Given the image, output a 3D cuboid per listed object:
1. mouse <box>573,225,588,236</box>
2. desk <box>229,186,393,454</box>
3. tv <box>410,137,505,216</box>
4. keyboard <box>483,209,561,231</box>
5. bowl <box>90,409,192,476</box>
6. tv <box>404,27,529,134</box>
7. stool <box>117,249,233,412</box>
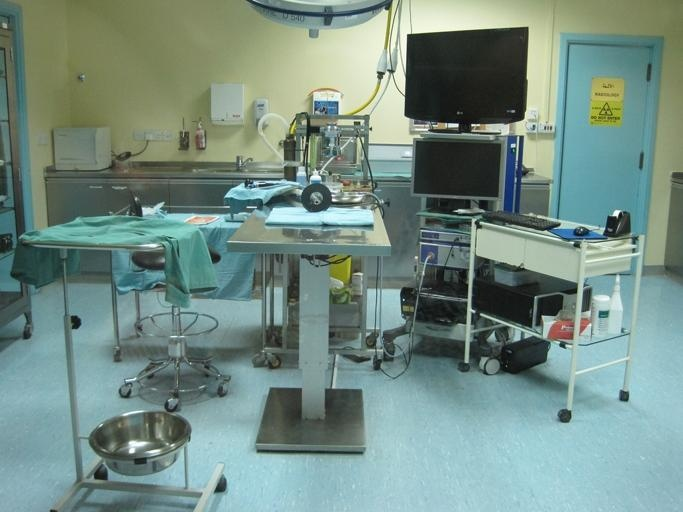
[{"bbox_3d":[1.410,-0.146,3.500,0.075,0.043,0.048,-1,6,-11],"label":"mouse"},{"bbox_3d":[-0.162,0.380,3.502,0.823,1.120,1.186,1,6,1],"label":"desk"},{"bbox_3d":[0.842,-0.577,4.216,0.578,0.424,0.049,3,7,13],"label":"tv"},{"bbox_3d":[1.127,-0.220,3.798,0.483,0.082,0.348,7,17,30],"label":"keyboard"},{"bbox_3d":[-0.953,0.896,2.840,0.440,0.164,0.449,5,10,-1],"label":"bowl"},{"bbox_3d":[0.862,-1.256,4.187,0.834,0.618,0.065,4,15,21],"label":"tv"},{"bbox_3d":[-1.090,0.509,3.913,0.697,0.953,0.667,2,23,-4],"label":"stool"}]
